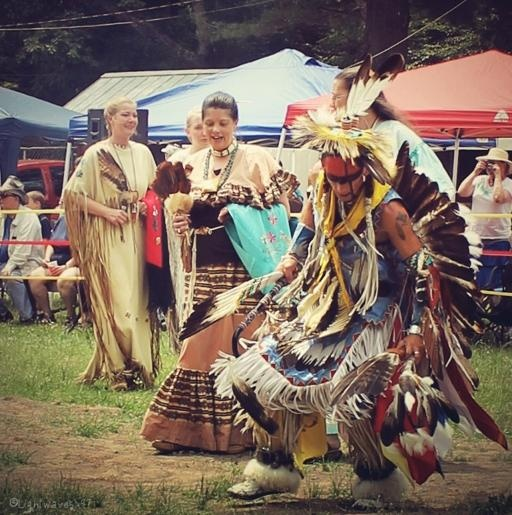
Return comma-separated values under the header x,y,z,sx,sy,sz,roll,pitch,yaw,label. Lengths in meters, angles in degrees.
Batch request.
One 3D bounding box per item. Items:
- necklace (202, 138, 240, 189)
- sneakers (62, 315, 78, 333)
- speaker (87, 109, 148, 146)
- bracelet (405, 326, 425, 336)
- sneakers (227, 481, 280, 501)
x,y,z,sx,sy,sz,roll,pitch,yaw,label
-0.205,-0.564,5.058,0.196,0.310,0.079,10,-9,35,necklace
-1.955,0.707,8.602,0.142,0.155,0.391,0,-6,-6,sneakers
-1.168,-1.008,6.619,0.411,0.340,0.286,2,-2,6,speaker
0.694,0.322,3.594,0.069,0.045,0.026,4,8,38,bracelet
-0.033,1.108,3.910,0.274,0.109,0.094,3,-9,6,sneakers
